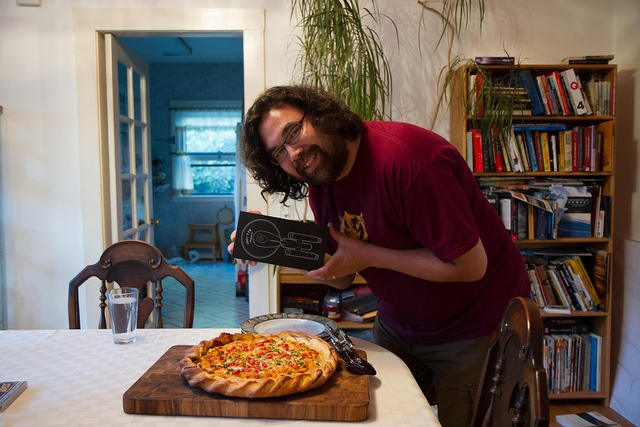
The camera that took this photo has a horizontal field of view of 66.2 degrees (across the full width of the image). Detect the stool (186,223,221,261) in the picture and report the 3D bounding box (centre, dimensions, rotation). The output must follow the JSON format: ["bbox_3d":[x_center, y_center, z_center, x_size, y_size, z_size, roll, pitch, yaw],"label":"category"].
[{"bbox_3d":[-1.650,0.421,7.361,0.525,0.560,0.506,0,4,7],"label":"stool"}]

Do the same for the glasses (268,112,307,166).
[{"bbox_3d":[-0.145,-0.319,2.143,0.189,0.057,0.196,-42,7,23],"label":"glasses"}]

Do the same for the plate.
[{"bbox_3d":[-0.128,0.539,2.334,0.255,0.037,0.254,2,8,2],"label":"plate"}]
